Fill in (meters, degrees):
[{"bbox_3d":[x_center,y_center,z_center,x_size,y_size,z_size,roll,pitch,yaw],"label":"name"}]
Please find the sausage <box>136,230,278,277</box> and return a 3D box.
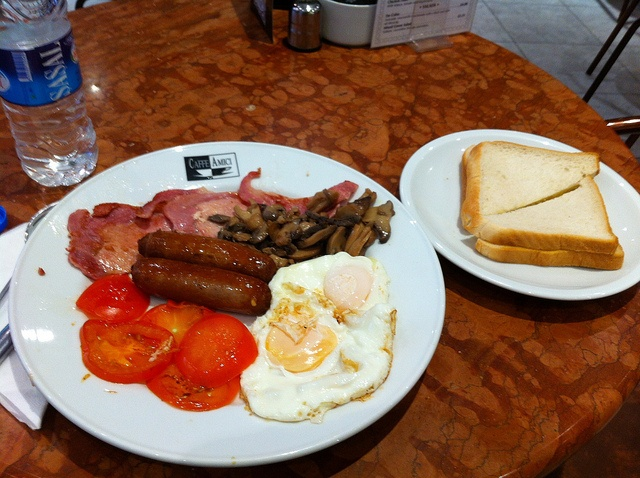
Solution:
[{"bbox_3d":[-0.421,0.061,1.937,0.664,0.165,0.161,9,99,-3],"label":"sausage"}]
